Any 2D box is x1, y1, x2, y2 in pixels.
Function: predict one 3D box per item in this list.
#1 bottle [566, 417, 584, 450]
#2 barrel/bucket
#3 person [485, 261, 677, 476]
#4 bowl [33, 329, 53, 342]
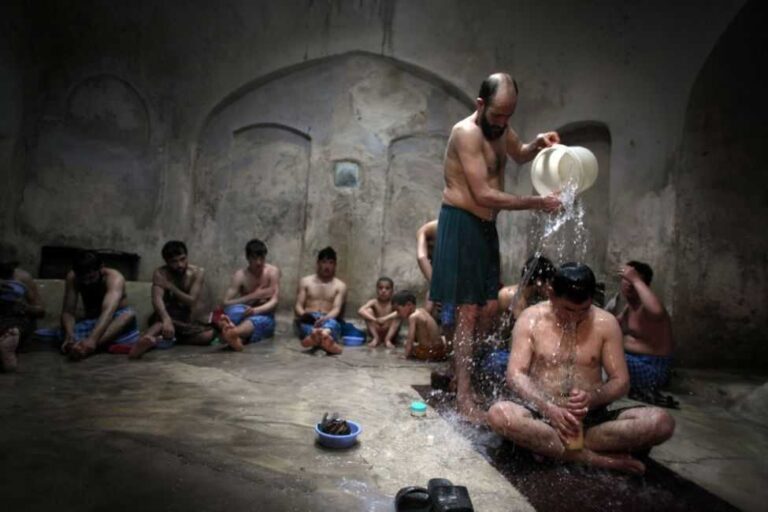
[{"bbox_3d":[1.550,1.443,4.344,0.157,0.256,0.039,0,10,-14],"label":"bottle"},{"bbox_3d":[1.750,-0.755,5.224,0.411,0.587,0.537,-21,45,-39],"label":"barrel/bucket"},{"bbox_3d":[1.580,0.879,4.491,1.337,1.614,0.525,4,9,9],"label":"person"},{"bbox_3d":[-4.078,0.935,6.511,0.200,0.086,0.164,0,20,-18],"label":"bowl"}]
